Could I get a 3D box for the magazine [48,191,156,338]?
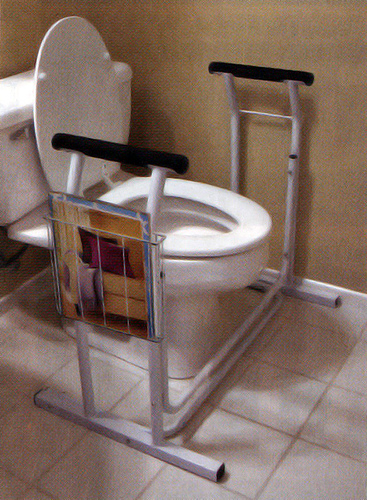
[{"bbox_3d":[-0.129,0.024,0.833,0.186,0.224,0.052,18,29,33],"label":"magazine"}]
